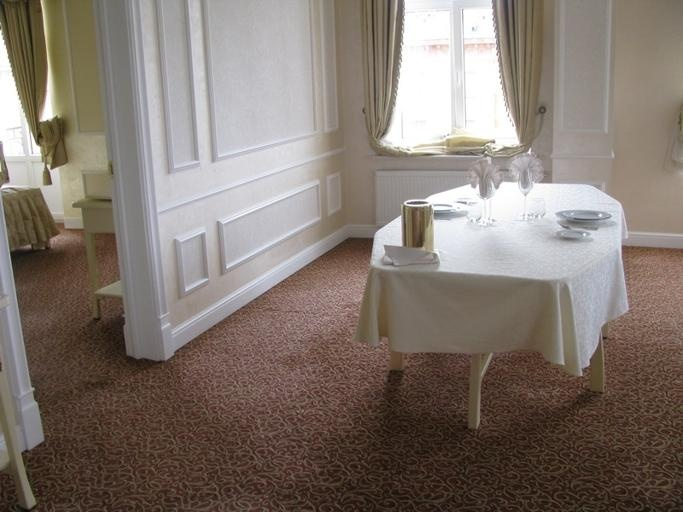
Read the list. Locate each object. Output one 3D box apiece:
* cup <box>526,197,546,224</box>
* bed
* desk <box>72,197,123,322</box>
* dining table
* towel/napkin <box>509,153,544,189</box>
[{"bbox_3d":[1.242,-0.303,3.296,0.139,0.147,0.143,-1,7,0],"label":"cup"},{"bbox_3d":[-3.830,-0.466,6.226,0.696,0.627,1.079,-4,20,-11],"label":"bed"},{"bbox_3d":[-2.111,0.003,4.421,0.360,1.052,1.096,-14,22,-25],"label":"desk"},{"bbox_3d":[0.998,0.046,3.208,1.032,0.505,1.872,1,17,17],"label":"dining table"},{"bbox_3d":[1.221,-0.571,3.352,0.220,0.229,0.077,3,14,2],"label":"towel/napkin"}]
